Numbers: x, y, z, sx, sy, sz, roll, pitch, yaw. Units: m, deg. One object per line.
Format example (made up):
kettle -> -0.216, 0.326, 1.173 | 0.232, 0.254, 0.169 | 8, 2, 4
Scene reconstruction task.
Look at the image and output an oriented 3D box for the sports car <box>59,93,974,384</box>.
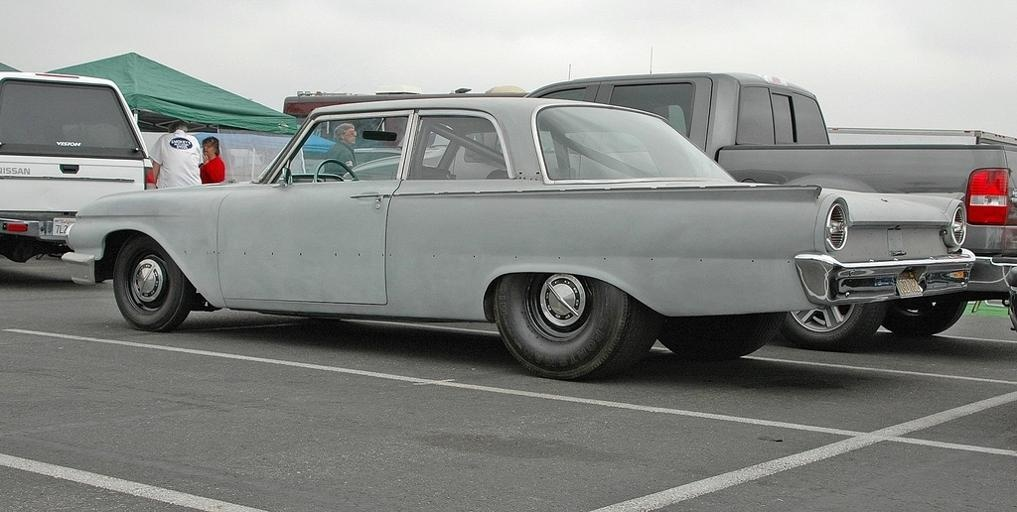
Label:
sports car -> -0.260, -0.286, 7.255 | 8.981, 1.997, 3.739 | 3, 2, 27
